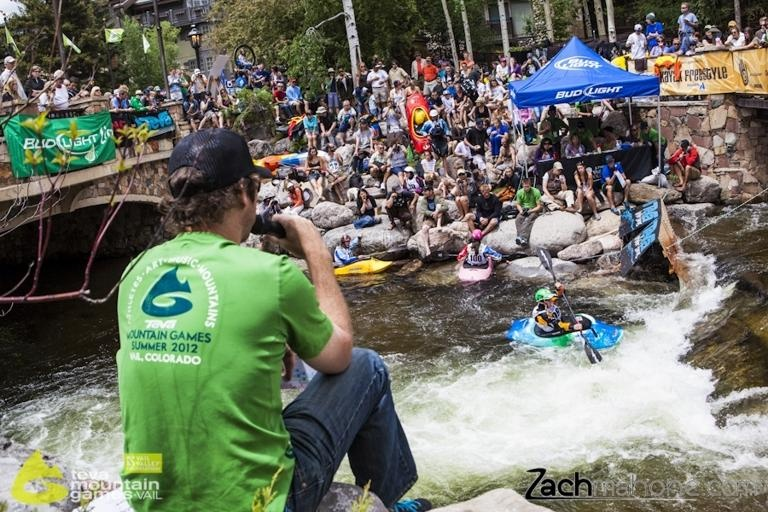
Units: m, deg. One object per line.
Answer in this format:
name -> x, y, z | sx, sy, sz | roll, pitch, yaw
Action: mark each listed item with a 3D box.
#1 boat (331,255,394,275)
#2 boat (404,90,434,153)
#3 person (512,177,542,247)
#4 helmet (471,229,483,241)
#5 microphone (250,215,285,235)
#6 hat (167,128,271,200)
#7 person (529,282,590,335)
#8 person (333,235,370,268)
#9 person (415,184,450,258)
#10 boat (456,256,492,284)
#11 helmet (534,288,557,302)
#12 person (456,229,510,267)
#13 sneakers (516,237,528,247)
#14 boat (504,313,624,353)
boat -> -0.536, 0.284, 19.089 | 1.841, 0.533, 0.591 | -2, 27, 16
boat -> 1.150, -4.531, 22.262 | 0.639, 2.372, 0.916 | -3, 4, -2
person -> 3.780, -1.232, 18.016 | 0.815, 1.224, 2.032 | -1, 35, 24
helmet -> 2.416, -0.559, 17.581 | 0.232, 0.270, 0.337 | 11, 56, 4
microphone -> -0.843, -0.209, 4.886 | 0.101, 0.115, 0.308 | 4, -9, 37
hat -> -1.153, -0.710, 4.655 | 0.545, 0.302, 0.402 | -25, 29, -27
person -> 3.234, 0.978, 12.447 | 0.984, 1.040, 0.800 | -8, 29, 19
person -> -1.060, 0.079, 19.751 | 0.809, 1.499, 0.838 | 3, 8, 23
person -> 1.333, -1.157, 19.163 | 0.935, 1.368, 2.187 | -9, 31, 20
boat -> 2.315, 0.348, 17.096 | 0.901, 0.423, 0.808 | -7, 12, 6
helmet -> 3.005, 0.804, 12.654 | 0.395, 0.225, 0.288 | -8, 23, 39
person -> 2.482, -0.298, 17.507 | 0.815, 0.654, 1.128 | 1, 11, 13
sneakers -> 3.596, -0.372, 17.633 | 0.155, 0.164, 0.354 | -9, 17, -24
boat -> 3.291, 1.459, 12.343 | 1.587, 0.360, 0.863 | -2, 21, 27
